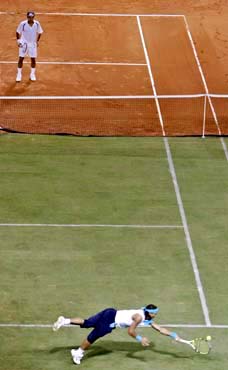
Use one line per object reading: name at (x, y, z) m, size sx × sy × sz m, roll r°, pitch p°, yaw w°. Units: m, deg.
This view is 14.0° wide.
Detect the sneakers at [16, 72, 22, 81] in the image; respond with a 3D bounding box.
sneakers at (-2.835, -3.254, 27.723) m, size 0.125 × 0.270 × 0.285 m, roll 2°, pitch 52°, yaw -9°

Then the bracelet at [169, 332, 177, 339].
bracelet at (0.961, 2.440, 14.878) m, size 0.107 × 0.060 × 0.155 m, roll 6°, pitch -2°, yaw 0°

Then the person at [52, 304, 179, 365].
person at (0.029, 2.255, 15.014) m, size 1.917 × 0.900 × 0.939 m, roll -5°, pitch 20°, yaw -2°

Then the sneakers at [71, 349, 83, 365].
sneakers at (-0.586, 2.783, 14.957) m, size 0.195 × 0.122 × 0.336 m, roll -9°, pitch 26°, yaw -19°

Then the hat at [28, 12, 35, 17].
hat at (-2.349, -4.790, 26.231) m, size 0.150 × 0.121 × 0.164 m, roll -2°, pitch 30°, yaw -4°

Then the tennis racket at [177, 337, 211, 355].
tennis racket at (1.308, 2.600, 14.940) m, size 0.500 × 0.294 × 0.168 m, roll 6°, pitch -15°, yaw -4°
